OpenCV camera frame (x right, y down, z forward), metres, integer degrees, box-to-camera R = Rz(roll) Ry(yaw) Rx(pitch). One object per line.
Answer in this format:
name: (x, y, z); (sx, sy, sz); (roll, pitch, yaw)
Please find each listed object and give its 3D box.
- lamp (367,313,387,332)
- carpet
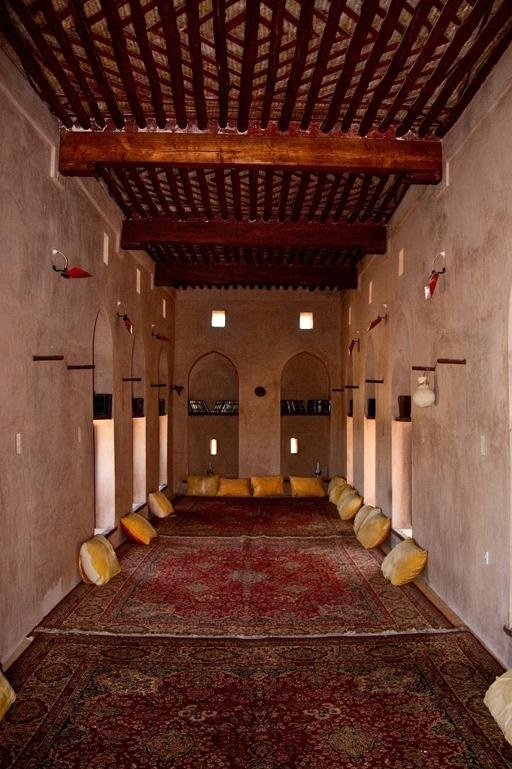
lamp: (1.963, -1.016, 7.727); (0.230, 0.229, 1.100); (3, 12, 20)
carpet: (-0.082, 2.162, 5.266); (3.330, 0.184, 3.123); (-1, -9, 1)
